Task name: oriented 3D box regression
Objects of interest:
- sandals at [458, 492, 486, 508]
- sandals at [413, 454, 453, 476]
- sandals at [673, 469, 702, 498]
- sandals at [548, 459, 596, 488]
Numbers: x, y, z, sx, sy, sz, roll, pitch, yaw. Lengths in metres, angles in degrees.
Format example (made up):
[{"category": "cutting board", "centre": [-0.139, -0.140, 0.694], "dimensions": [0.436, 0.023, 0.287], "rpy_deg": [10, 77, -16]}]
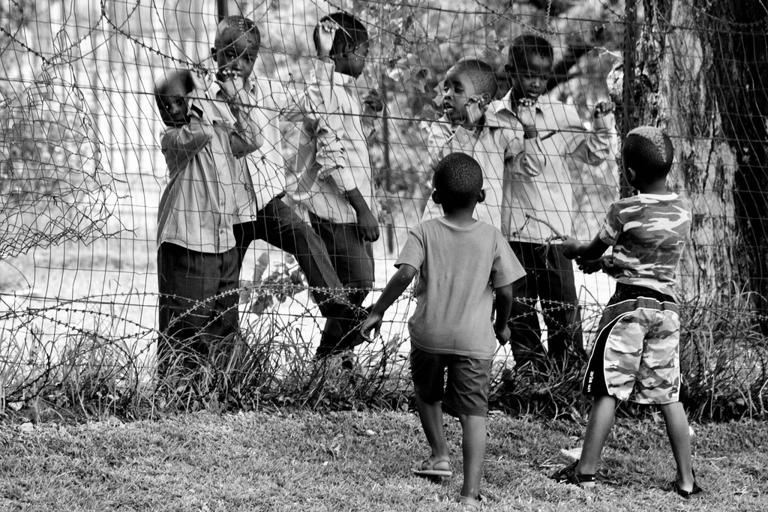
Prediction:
[{"category": "sandals", "centre": [0.578, 1.604, 7.992], "dimensions": [0.174, 0.060, 0.115], "rpy_deg": [3, -1, -18]}, {"category": "sandals", "centre": [0.330, 1.415, 8.298], "dimensions": [0.243, 0.100, 0.131], "rpy_deg": [-2, -5, 42]}, {"category": "sandals", "centre": [2.074, 1.548, 8.309], "dimensions": [0.201, 0.177, 0.123], "rpy_deg": [3, -1, -8]}, {"category": "sandals", "centre": [1.290, 1.503, 8.389], "dimensions": [0.142, 0.147, 0.328], "rpy_deg": [-5, 11, -45]}]
